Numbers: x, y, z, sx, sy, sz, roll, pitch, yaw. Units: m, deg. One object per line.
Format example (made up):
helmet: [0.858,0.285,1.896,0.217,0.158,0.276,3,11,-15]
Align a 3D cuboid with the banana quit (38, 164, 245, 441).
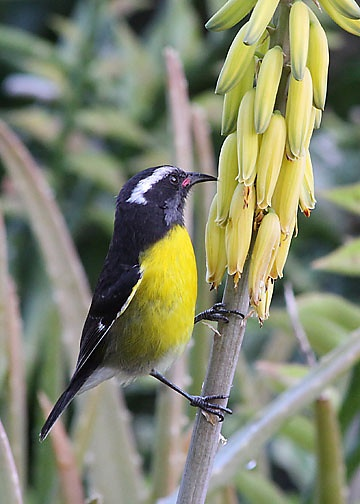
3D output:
banana quit: [-0.092,0.088,1.448,0.257,0.554,0.327,7,8,0]
